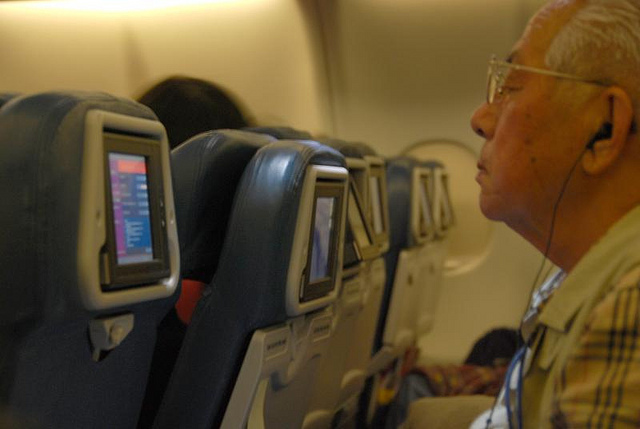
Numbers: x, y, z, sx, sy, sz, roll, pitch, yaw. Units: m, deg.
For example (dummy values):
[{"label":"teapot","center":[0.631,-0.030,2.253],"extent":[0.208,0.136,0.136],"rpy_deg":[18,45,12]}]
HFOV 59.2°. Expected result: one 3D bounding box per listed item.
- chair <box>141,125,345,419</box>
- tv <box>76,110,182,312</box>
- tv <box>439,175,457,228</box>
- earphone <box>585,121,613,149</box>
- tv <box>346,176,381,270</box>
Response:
[{"label":"chair","center":[-0.216,0.225,1.817],"extent":[0.656,0.932,0.299],"rpy_deg":[2,0,-25]},{"label":"tv","center":[-0.486,-0.011,1.469],"extent":[0.060,0.531,0.285],"rpy_deg":[1,0,33]},{"label":"tv","center":[0.840,-0.087,3.684],"extent":[0.088,0.428,0.122],"rpy_deg":[-6,-14,16]},{"label":"earphone","center":[0.569,-0.165,1.143],"extent":[0.013,0.047,0.048],"rpy_deg":[25,-2,-6]},{"label":"tv","center":[0.174,0.062,2.534],"extent":[0.088,0.340,0.257],"rpy_deg":[-1,6,29]}]
